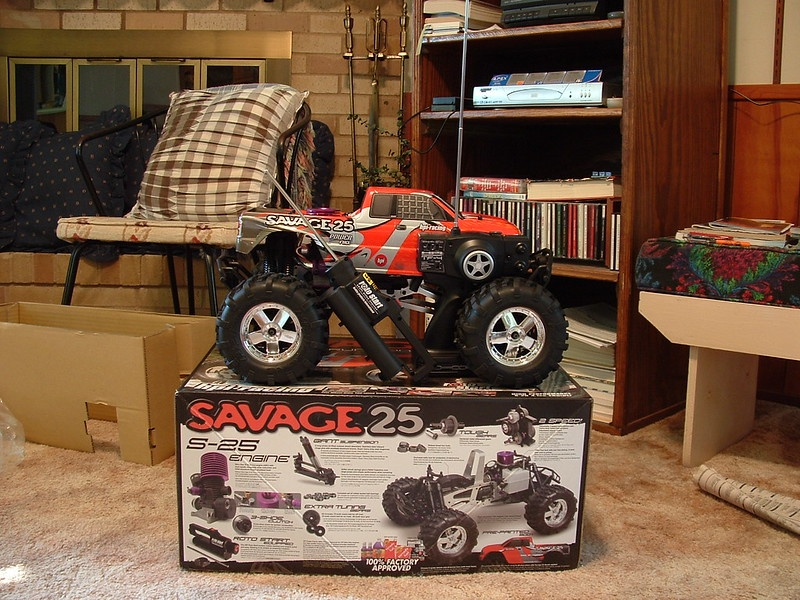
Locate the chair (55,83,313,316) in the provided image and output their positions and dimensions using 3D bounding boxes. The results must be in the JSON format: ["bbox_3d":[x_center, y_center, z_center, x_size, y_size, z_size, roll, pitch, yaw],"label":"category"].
[{"bbox_3d":[-0.712,-0.321,2.393,0.871,0.878,0.848,-3,10,-32],"label":"chair"}]

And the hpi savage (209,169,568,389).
[{"bbox_3d":[-0.009,-0.059,1.616,0.748,0.464,0.507,1,7,1],"label":"hpi savage"}]

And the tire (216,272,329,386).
[{"bbox_3d":[-0.260,0.069,1.424,0.228,0.221,0.080,-1,2,2],"label":"tire"}]

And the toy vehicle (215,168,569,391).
[{"bbox_3d":[-0.022,-0.047,1.553,0.668,0.436,0.418,1,4,-4],"label":"toy vehicle"}]

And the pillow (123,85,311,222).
[{"bbox_3d":[-0.615,-0.511,2.399,0.609,0.579,0.179,2,-19,16],"label":"pillow"}]

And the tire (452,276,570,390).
[{"bbox_3d":[0.248,0.075,1.424,0.220,0.217,0.081,-3,2,27],"label":"tire"}]
